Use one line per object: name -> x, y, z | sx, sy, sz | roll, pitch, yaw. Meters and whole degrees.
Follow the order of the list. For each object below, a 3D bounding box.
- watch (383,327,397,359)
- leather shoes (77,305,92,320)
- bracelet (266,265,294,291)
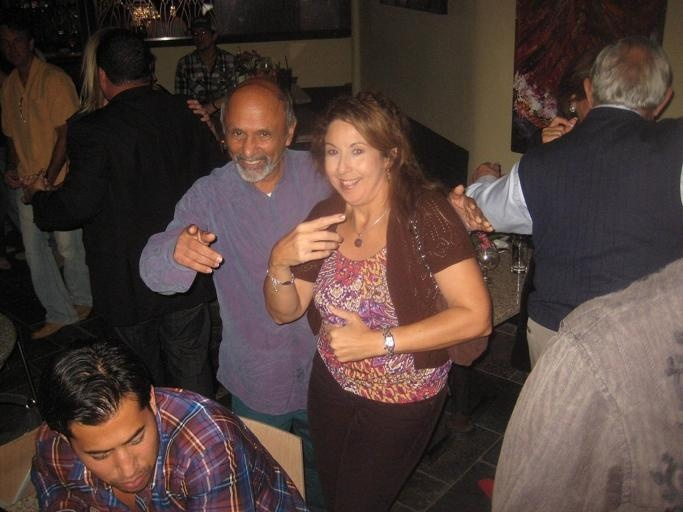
watch -> 0.144, 0.266, 1.706 | 0.034, 0.096, 0.048 | -2, 16, 5
leather shoes -> -1.989, 0.426, 4.328 | 0.070, 0.122, 0.118 | -3, -16, 38
bracelet -> -0.214, 0.076, 1.912 | 0.065, 0.080, 0.024 | -10, -13, 7
